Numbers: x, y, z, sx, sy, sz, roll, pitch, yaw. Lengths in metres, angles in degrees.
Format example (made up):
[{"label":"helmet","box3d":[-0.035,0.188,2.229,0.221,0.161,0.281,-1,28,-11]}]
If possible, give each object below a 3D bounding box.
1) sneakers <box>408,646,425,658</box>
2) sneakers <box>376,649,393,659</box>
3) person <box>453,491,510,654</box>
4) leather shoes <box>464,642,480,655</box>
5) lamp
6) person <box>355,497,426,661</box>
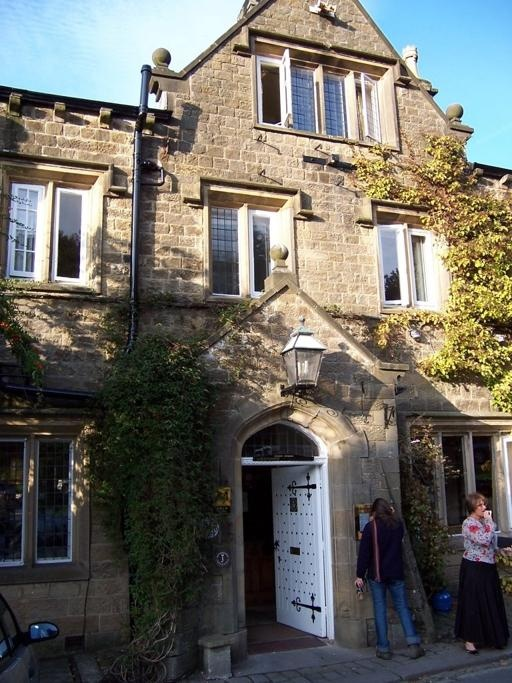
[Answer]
[{"label":"sneakers","box3d":[1.732,3.349,7.090,0.109,0.137,0.211,-7,-18,24]},{"label":"sneakers","box3d":[1.371,3.356,7.049,0.162,0.102,0.064,-3,-5,25]},{"label":"person","box3d":[2.418,2.551,7.251,0.541,1.675,0.288,-5,-9,14]},{"label":"leather shoes","box3d":[2.342,3.335,7.151,0.140,0.116,0.215,-5,-8,16]},{"label":"lamp","box3d":[0.523,0.166,7.549,0.399,0.879,0.602,-1,-9,-11]},{"label":"person","box3d":[1.425,2.592,7.198,0.689,1.658,0.398,-3,-9,0]}]
